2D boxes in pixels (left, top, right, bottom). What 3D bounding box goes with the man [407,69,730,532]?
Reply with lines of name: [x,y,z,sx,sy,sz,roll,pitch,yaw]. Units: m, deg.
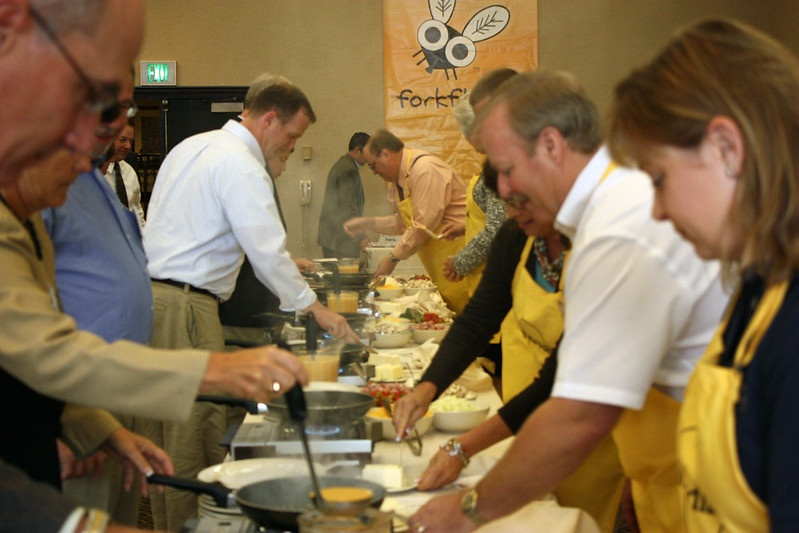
man: [0.388,-0.056,2.297,1.079,1.838,0.852,2,8,15]

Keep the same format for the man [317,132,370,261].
man: [-0.552,-0.692,6.424,0.455,1.508,0.634,-12,36,-20]

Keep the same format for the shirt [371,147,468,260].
shirt: [0.143,-0.403,4.807,0.732,0.777,0.634,-16,4,-8]

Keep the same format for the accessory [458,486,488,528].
accessory: [0.168,0.535,1.481,0.031,0.075,0.059,-9,37,2]

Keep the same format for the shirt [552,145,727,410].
shirt: [0.512,0.035,1.382,0.295,0.517,0.562,0,-13,0]
